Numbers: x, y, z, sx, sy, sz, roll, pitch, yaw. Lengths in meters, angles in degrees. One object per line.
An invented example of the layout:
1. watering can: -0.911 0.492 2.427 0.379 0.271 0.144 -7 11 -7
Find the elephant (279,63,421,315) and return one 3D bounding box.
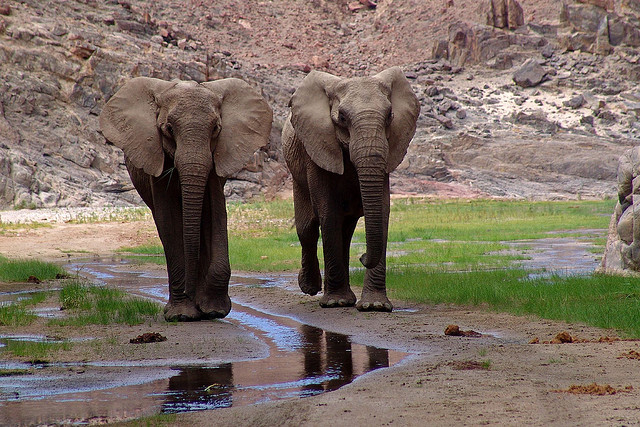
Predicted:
1. elephant: 0.765 -1.888 76.450 10.026 15.688 9.151 1 2 6
